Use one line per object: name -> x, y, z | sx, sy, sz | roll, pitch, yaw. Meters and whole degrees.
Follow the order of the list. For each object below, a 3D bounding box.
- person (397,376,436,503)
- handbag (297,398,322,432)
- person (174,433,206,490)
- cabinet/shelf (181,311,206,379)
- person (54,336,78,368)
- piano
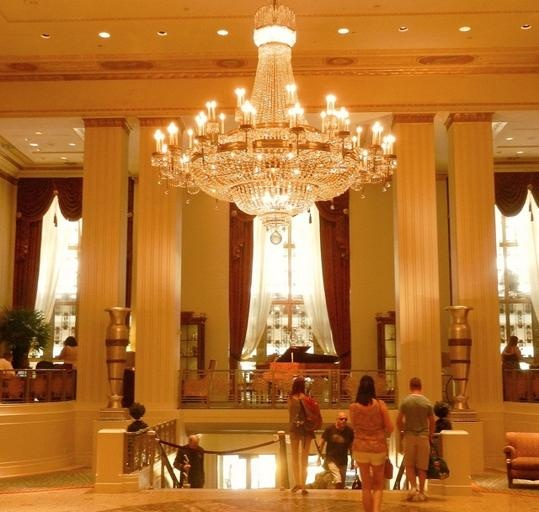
person -> 1.608, 2.017, 5.982 | 0.375, 1.343, 0.733 | -3, -13, 14
handbag -> 0.451, 1.770, 6.210 | 0.242, 0.411, 0.308 | -9, -3, -5
person -> -1.125, 2.921, 7.724 | 0.418, 0.786, 0.943 | 1, -12, -7
cabinet/shelf -> -2.080, 2.406, 14.484 | 0.790, 1.515, 0.371 | 0, -1, 16
person -> -4.064, 1.919, 11.121 | 0.316, 0.617, 0.852 | 5, -13, -21
piano -> 0.496, 2.436, 11.468 | 2.123, 1.142, 1.937 | 3, -21, -12
